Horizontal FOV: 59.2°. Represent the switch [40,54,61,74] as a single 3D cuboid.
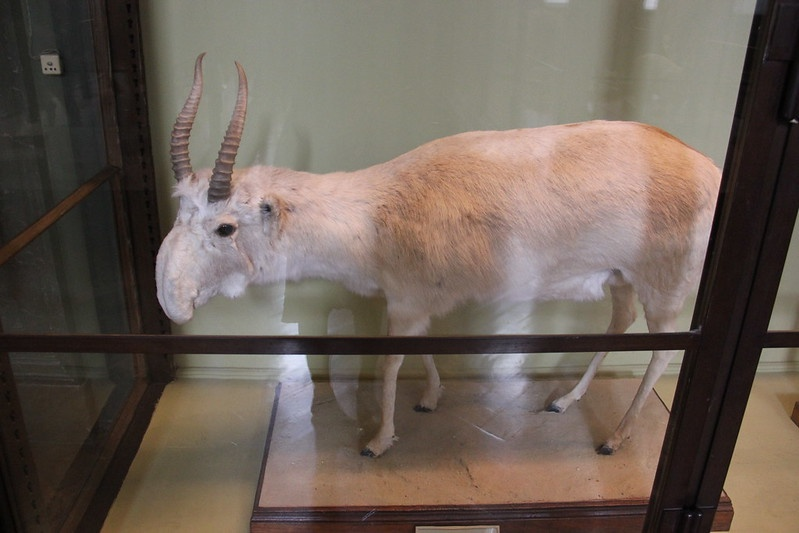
[{"bbox_3d":[-0.940,-0.550,1.889,0.038,0.041,0.020,-2,29,-6],"label":"switch"}]
